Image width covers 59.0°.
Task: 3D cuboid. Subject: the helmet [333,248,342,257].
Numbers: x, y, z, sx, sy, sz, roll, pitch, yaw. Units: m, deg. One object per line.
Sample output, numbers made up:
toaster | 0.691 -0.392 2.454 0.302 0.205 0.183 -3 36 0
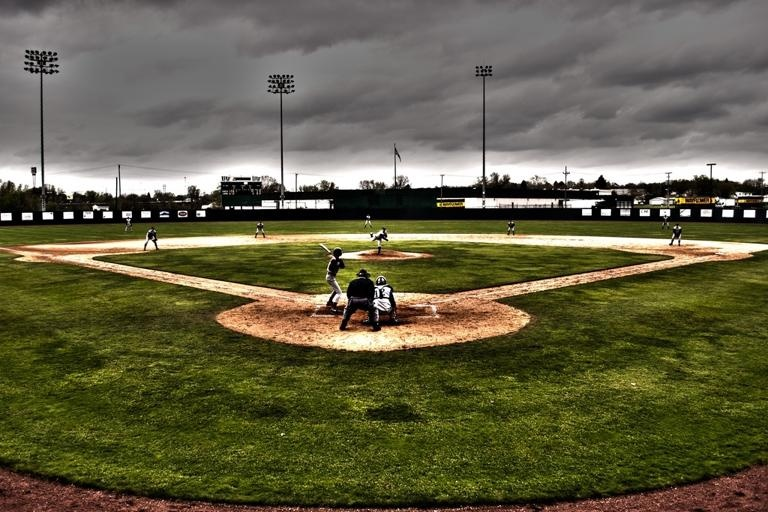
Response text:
helmet | -1.295 -0.104 18.600 0.293 0.208 0.254 1 2 2

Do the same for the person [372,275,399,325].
person | 0.022 1.100 17.123 0.682 1.145 0.473 0 -12 -4

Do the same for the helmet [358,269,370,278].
helmet | -0.527 0.433 16.701 0.271 0.158 0.314 2 6 0
